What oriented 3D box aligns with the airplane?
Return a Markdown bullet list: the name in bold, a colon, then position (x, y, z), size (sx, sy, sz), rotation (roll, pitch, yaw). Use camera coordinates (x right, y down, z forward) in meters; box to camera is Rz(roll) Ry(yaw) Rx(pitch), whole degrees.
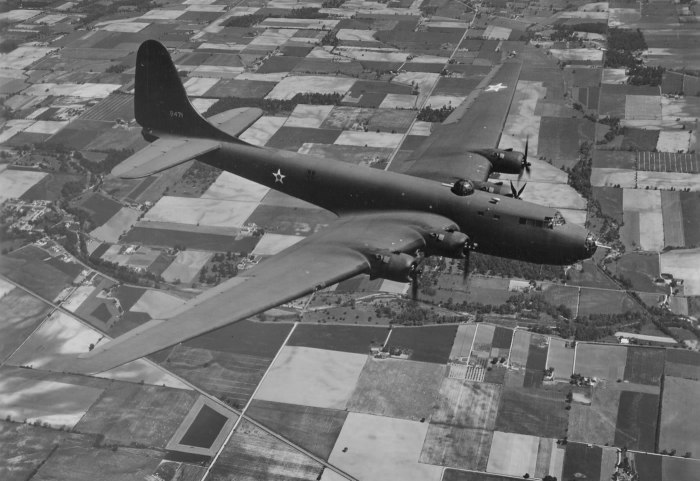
- **airplane**: position (-1.162, -6.256, 61.739), size (42.344, 16.099, 37.372), rotation (-4, 40, 2)
